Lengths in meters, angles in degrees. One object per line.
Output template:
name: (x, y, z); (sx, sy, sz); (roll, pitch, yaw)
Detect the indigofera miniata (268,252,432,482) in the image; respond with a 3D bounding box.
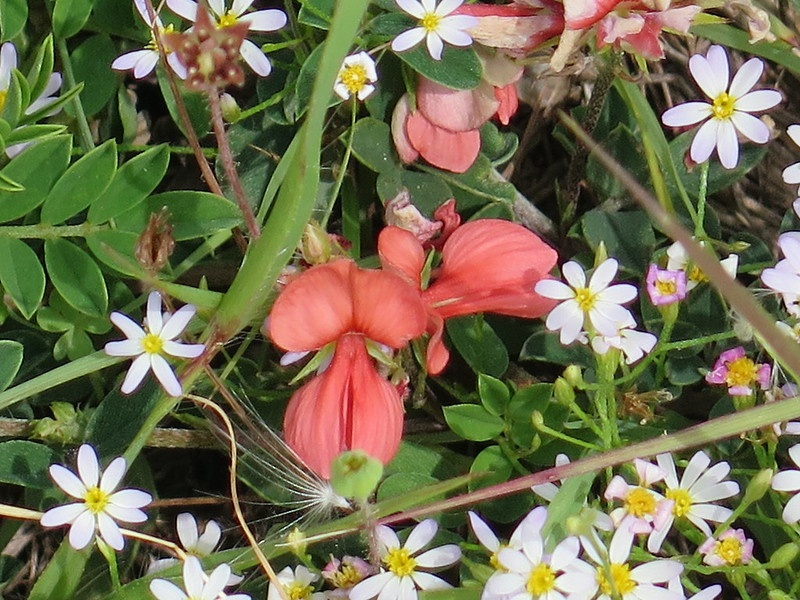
indigofera miniata: (-0.080, 0.080, 1.255); (0.198, 0.324, 0.099); (-5, 25, -22)

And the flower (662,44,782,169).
flower: (0.476, -0.281, 1.340); (0.149, 0.113, 0.156); (31, 61, 15)

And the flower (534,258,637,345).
flower: (0.258, 0.001, 1.270); (0.139, 0.071, 0.094); (2, 58, -4)

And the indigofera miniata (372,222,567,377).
indigofera miniata: (0.100, -0.032, 1.311); (0.225, 0.106, 0.224); (-36, 68, -18)

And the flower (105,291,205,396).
flower: (-0.331, 0.054, 1.290); (0.132, 0.042, 0.153); (-28, 90, -4)

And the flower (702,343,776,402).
flower: (0.503, 0.112, 1.350); (0.080, 0.117, 0.045); (-25, 102, 16)

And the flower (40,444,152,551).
flower: (-0.423, 0.281, 1.271); (0.144, 0.171, 0.048); (6, 92, -3)
